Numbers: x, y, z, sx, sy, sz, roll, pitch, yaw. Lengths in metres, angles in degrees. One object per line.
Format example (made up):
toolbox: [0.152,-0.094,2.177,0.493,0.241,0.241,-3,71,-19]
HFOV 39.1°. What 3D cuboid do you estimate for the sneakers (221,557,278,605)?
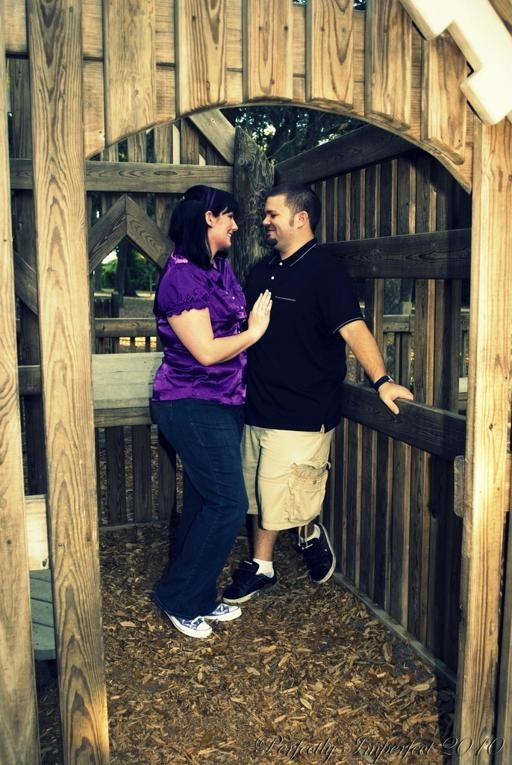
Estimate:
sneakers: [-0.023,1.055,3.991,0.126,0.214,0.386,12,17,42]

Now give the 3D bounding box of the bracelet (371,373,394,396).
bracelet: [0.573,0.023,3.249,0.078,0.034,0.083,-40,-7,23]

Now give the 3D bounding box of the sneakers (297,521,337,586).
sneakers: [0.332,1.000,4.139,0.140,0.438,0.158,-24,-28,26]

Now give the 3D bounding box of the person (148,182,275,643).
person: [-0.222,0.184,3.401,0.527,2.145,0.672,-1,6,-10]

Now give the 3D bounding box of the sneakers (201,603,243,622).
sneakers: [-0.160,1.184,3.676,0.170,0.088,0.083,-3,0,-14]

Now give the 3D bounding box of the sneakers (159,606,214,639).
sneakers: [-0.341,1.175,3.568,0.234,0.110,0.093,8,-3,34]
